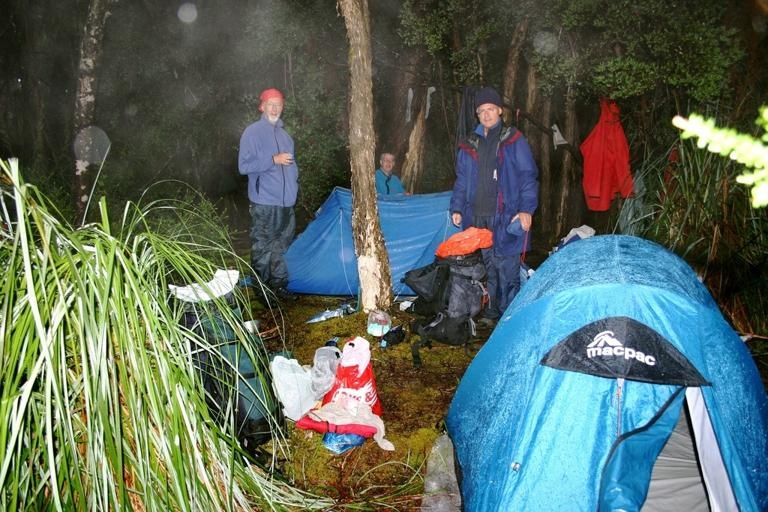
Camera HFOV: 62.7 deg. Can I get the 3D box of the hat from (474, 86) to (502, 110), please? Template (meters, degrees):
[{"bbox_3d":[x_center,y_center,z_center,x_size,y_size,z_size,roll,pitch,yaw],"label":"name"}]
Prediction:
[{"bbox_3d":[1.187,-1.828,7.156,0.268,0.267,0.292,3,-1,4],"label":"hat"}]

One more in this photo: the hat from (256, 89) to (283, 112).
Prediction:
[{"bbox_3d":[-1.387,-1.901,7.713,0.265,0.276,0.432,1,12,-13],"label":"hat"}]

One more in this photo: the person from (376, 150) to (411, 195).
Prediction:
[{"bbox_3d":[0.002,-1.209,9.451,0.716,0.644,0.396,2,8,-30],"label":"person"}]

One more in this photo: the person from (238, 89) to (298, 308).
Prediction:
[{"bbox_3d":[-1.435,-0.744,7.801,0.722,2.521,0.324,-2,12,-27],"label":"person"}]

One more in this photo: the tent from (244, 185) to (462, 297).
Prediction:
[{"bbox_3d":[-0.176,-0.256,7.995,1.570,0.665,1.390,-2,31,-2],"label":"tent"}]
